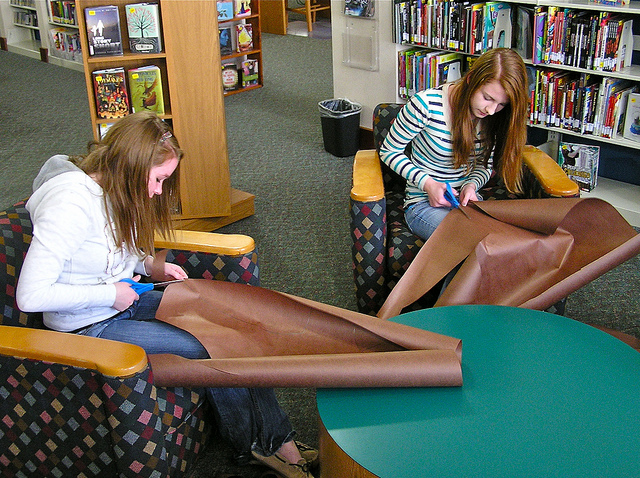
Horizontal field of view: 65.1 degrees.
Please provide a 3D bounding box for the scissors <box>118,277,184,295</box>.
[{"bbox_3d":[-0.621,0.188,1.862,0.173,0.033,0.091,-13,25,-25],"label":"scissors"}]

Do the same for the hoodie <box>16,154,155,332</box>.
[{"bbox_3d":[-0.790,0.018,1.692,0.323,0.406,0.506,6,21,-4],"label":"hoodie"}]

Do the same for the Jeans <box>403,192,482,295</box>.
[{"bbox_3d":[0.602,0.008,2.539,0.337,0.371,0.362,7,41,10],"label":"Jeans"}]

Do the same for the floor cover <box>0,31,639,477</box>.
[{"bbox_3d":[-0.464,0.410,5.180,3.166,2.857,5.348,-31,47,-32],"label":"floor cover"}]

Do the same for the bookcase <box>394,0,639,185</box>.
[{"bbox_3d":[1.246,-0.875,2.986,0.364,1.034,1.174,-34,52,-27],"label":"bookcase"}]

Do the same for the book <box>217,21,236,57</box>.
[{"bbox_3d":[-1.134,-2.468,6.208,0.332,0.320,0.110,11,22,40],"label":"book"}]

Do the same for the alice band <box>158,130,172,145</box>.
[{"bbox_3d":[-0.542,-0.357,1.755,0.044,0.016,0.041,-11,44,17],"label":"alice band"}]

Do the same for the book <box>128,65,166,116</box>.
[{"bbox_3d":[-1.025,-0.885,2.987,0.206,0.273,0.150,-12,28,-26],"label":"book"}]

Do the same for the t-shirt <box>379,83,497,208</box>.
[{"bbox_3d":[0.595,-0.446,2.474,0.581,0.563,0.333,-7,40,-11],"label":"t-shirt"}]

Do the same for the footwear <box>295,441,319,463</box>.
[{"bbox_3d":[-0.056,0.821,1.962,0.107,0.045,0.040,32,40,26],"label":"footwear"}]

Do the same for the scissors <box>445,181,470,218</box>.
[{"bbox_3d":[0.633,-0.186,2.398,0.054,0.069,0.204,-3,41,-30],"label":"scissors"}]

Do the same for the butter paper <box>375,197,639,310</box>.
[{"bbox_3d":[0.827,0.082,2.197,0.890,0.302,0.567,-25,30,8],"label":"butter paper"}]

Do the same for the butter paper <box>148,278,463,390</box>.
[{"bbox_3d":[-0.061,0.357,1.682,0.953,0.172,0.432,8,40,15],"label":"butter paper"}]

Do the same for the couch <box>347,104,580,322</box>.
[{"bbox_3d":[0.694,-0.163,2.692,1.133,0.978,0.891,4,27,8],"label":"couch"}]

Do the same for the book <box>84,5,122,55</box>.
[{"bbox_3d":[-1.214,-1.174,2.821,0.241,0.244,0.058,-2,20,-10],"label":"book"}]
